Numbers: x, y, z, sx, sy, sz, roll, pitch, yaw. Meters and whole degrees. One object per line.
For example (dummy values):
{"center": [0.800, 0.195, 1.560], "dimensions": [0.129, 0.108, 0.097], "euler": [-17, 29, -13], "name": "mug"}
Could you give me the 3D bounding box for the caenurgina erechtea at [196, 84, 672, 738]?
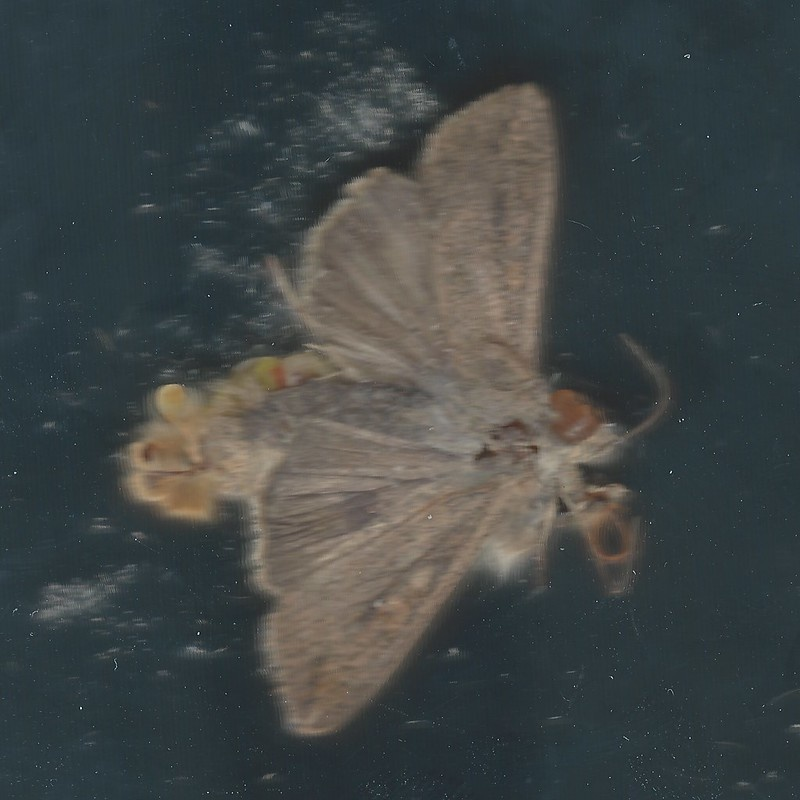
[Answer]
{"center": [0.052, 0.038, 6.273], "dimensions": [2.189, 0.240, 1.724], "euler": [-35, 83, -2], "name": "caenurgina erechtea"}
